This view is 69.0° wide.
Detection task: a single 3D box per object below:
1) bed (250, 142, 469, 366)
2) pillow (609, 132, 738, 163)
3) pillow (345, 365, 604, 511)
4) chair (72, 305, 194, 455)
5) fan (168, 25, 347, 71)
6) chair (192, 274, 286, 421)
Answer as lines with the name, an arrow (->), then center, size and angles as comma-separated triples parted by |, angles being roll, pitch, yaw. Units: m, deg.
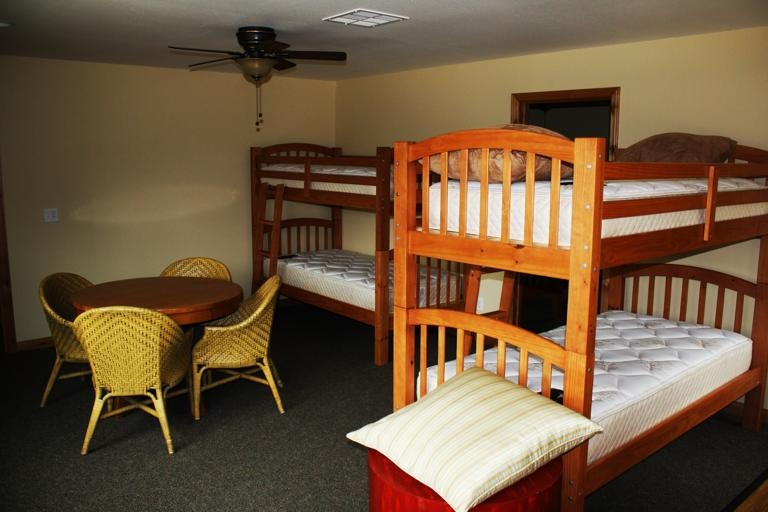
bed -> -0.335, -0.232, 6.496 | 1.481, 1.982, 2.521 | -6, 12, -42
pillow -> 2.331, -0.864, 4.422 | 0.594, 0.182, 0.632 | 3, 28, 46
pillow -> 0.507, 0.924, 2.931 | 0.822, 0.202, 0.786 | -20, 16, -29
chair -> -1.868, 0.888, 4.275 | 0.841, 0.986, 0.796 | -2, -2, -25
fan -> -1.031, -1.748, 4.741 | 0.882, 0.313, 1.370 | -7, 15, -29
chair -> -1.268, 0.702, 4.770 | 0.811, 0.962, 0.791 | -4, 11, -19
